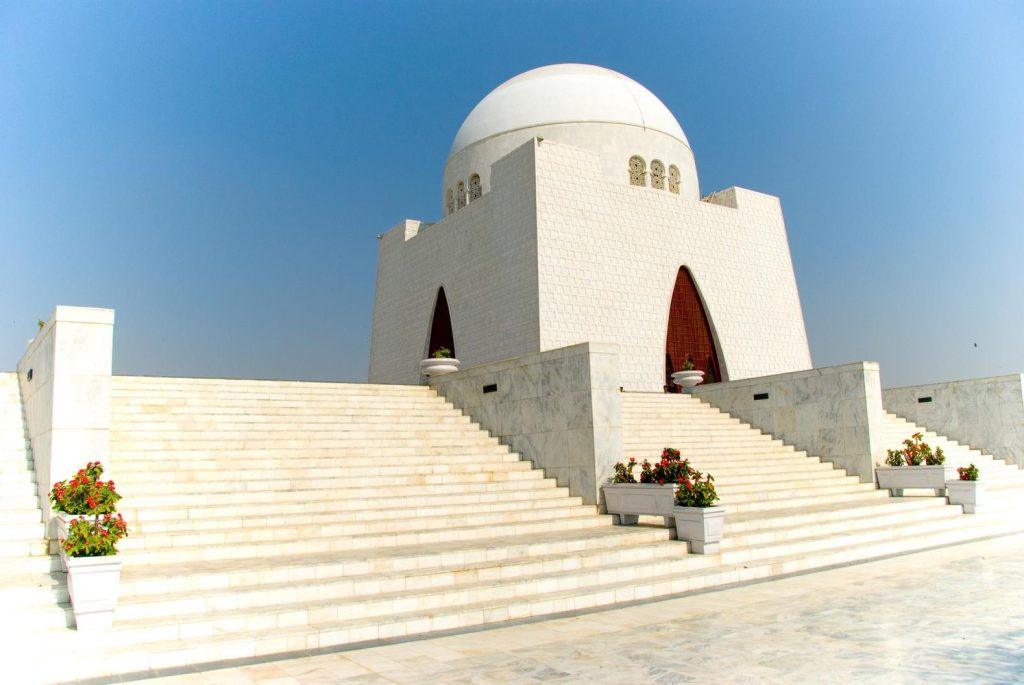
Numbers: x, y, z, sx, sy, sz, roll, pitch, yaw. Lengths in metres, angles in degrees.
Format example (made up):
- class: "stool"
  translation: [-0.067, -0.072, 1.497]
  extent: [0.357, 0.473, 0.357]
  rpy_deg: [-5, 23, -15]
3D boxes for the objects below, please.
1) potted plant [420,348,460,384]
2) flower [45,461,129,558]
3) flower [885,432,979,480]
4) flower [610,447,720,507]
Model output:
- class: "potted plant"
  translation: [-2.140, 0.641, 20.985]
  extent: [1.462, 0.948, 1.432]
  rpy_deg: [1, -15, -7]
- class: "flower"
  translation: [-5.316, 2.087, 8.577]
  extent: [1.097, 1.170, 0.932]
  rpy_deg: [2, -12, -23]
- class: "flower"
  translation: [9.388, 2.597, 15.448]
  extent: [1.372, 0.836, 1.866]
  rpy_deg: [9, -5, -39]
- class: "flower"
  translation: [2.669, 2.308, 11.759]
  extent: [1.090, 0.895, 1.762]
  rpy_deg: [0, -8, -44]
